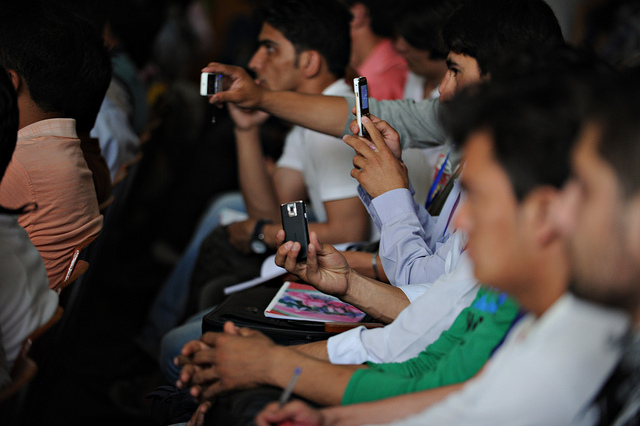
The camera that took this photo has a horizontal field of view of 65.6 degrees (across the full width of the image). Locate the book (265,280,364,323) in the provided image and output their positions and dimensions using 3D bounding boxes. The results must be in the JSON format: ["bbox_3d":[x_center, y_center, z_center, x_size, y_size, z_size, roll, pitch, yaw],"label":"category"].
[{"bbox_3d":[-0.007,0.280,1.542,0.339,0.037,0.257,3,16,12],"label":"book"}]

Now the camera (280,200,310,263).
[{"bbox_3d":[-0.072,0.050,1.460,0.080,0.121,0.154,0,37,-6],"label":"camera"}]

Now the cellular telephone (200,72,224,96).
[{"bbox_3d":[-0.354,-0.422,1.636,0.079,0.075,0.048,-3,37,-11],"label":"cellular telephone"}]

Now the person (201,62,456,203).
[{"bbox_3d":[0.101,-0.406,1.921,1.074,0.298,0.476,5,22,9],"label":"person"}]
